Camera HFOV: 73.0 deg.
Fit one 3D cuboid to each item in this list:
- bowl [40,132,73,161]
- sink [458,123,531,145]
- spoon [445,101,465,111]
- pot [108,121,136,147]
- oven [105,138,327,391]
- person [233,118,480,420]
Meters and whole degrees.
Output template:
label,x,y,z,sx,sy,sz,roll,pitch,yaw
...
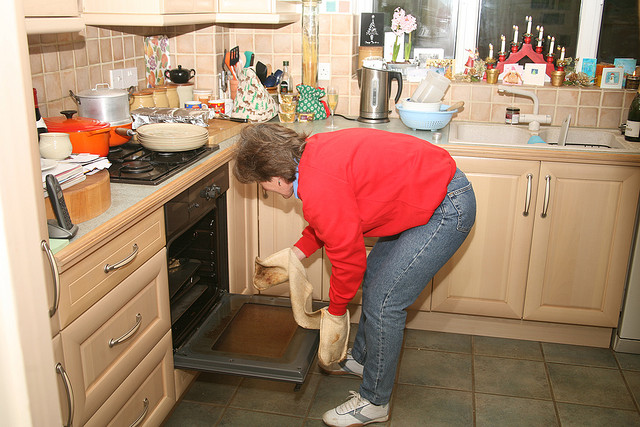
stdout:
label,x,y,z,sx,sy,sz,roll,pitch,yaw
bowl,-1.000,-0.253,1.633,0.098,0.075,0.113,1,9,3
sink,1.145,-0.524,2.907,0.349,0.121,0.221,6,40,8
spoon,0.895,-0.717,2.863,0.053,0.018,0.213,38,48,21
pot,-0.957,-0.378,2.076,0.146,0.056,0.086,16,39,31
oven,-0.541,0.219,2.105,1.130,0.918,0.736,6,17,10
person,0.186,0.319,1.978,0.960,1.444,0.449,-11,21,-28
